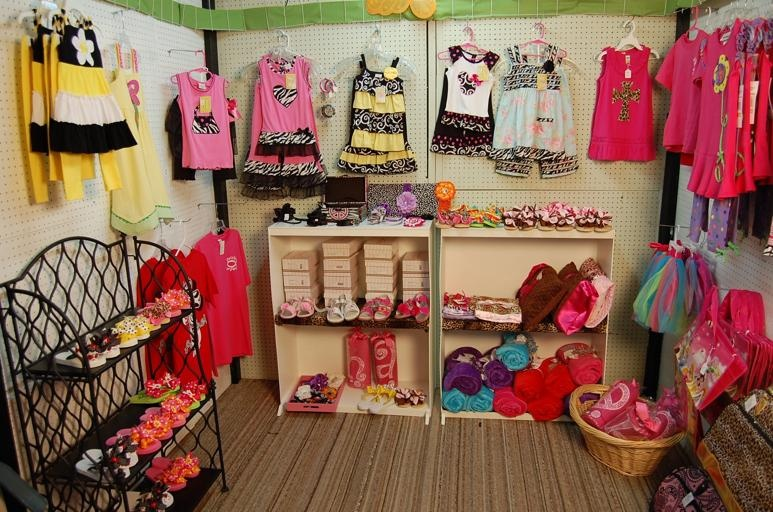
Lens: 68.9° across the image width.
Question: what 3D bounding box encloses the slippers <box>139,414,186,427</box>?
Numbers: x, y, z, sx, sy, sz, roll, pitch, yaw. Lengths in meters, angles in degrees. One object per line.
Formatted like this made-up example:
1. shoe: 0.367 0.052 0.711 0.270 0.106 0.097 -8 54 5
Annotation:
1. slippers: -1.352 0.980 3.387 0.197 0.039 0.117 2 12 -14

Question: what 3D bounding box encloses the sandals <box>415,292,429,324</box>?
1. sandals: 0.269 0.394 4.321 0.096 0.195 0.063 -2 -7 5

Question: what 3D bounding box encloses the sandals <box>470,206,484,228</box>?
1. sandals: 0.682 -0.299 4.303 0.080 0.045 0.163 0 41 8

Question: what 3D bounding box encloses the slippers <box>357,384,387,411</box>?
1. slippers: -0.110 1.144 4.528 0.146 0.053 0.211 -1 20 6

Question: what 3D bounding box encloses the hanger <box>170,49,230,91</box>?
1. hanger: -1.410 -1.413 4.252 0.412 0.289 0.008 3 31 -9

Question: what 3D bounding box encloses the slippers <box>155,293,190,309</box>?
1. slippers: -1.341 0.268 3.565 0.170 0.069 0.100 5 13 30

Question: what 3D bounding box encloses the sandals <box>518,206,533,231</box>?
1. sandals: 1.038 -0.289 4.165 0.105 0.165 0.055 -1 -20 6

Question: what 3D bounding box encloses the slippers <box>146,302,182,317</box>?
1. slippers: -1.385 0.321 3.481 0.138 0.052 0.087 2 4 -29

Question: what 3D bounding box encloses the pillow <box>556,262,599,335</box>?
1. pillow: 1.347 0.313 4.171 0.119 0.403 0.319 20 8 1

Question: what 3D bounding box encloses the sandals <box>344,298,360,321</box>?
1. sandals: -0.283 0.428 4.360 0.136 0.116 0.133 0 17 4

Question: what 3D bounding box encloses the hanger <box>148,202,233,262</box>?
1. hanger: -1.486 -0.216 4.325 0.188 0.262 0.659 2 17 19

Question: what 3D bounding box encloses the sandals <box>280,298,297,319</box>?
1. sandals: -0.785 0.412 4.438 0.139 0.100 0.192 -5 18 -11

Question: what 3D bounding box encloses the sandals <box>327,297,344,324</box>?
1. sandals: -0.400 0.425 4.369 0.145 0.165 0.421 0 4 -3

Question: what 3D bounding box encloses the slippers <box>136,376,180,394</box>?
1. slippers: -1.487 0.838 3.646 0.108 0.049 0.153 24 22 9

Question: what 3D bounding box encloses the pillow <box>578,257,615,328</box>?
1. pillow: 1.459 0.271 4.150 0.135 0.420 0.399 8 18 0

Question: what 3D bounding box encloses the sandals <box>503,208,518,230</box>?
1. sandals: 0.924 -0.285 4.208 0.104 0.137 0.119 1 17 8

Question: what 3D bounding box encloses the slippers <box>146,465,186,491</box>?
1. slippers: -1.457 1.452 3.679 0.226 0.084 0.148 13 27 24

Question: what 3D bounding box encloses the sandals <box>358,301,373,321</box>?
1. sandals: -0.160 0.422 4.375 0.121 0.097 0.175 -1 18 1

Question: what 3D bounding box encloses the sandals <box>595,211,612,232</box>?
1. sandals: 1.570 -0.253 4.109 0.111 0.128 0.129 4 18 16

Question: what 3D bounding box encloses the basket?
1. basket: 1.600 1.266 3.932 0.422 0.396 0.739 -13 21 -32

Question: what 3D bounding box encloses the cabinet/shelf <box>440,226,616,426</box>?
1. cabinet/shelf: 1.095 0.524 4.321 1.271 1.658 0.513 0 6 3

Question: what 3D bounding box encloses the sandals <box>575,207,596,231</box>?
1. sandals: 1.444 -0.296 4.097 0.117 0.064 0.176 -4 40 11

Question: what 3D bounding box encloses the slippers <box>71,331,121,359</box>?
1. slippers: -1.625 0.500 3.148 0.149 0.077 0.200 -2 6 -23

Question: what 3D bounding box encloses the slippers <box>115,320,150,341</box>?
1. slippers: -1.488 0.424 3.277 0.126 0.053 0.130 4 11 5

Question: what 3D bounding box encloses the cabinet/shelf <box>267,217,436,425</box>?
1. cabinet/shelf: -0.246 0.489 4.473 1.300 1.817 0.815 0 9 3

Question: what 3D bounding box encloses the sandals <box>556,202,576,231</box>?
1. sandals: 1.297 -0.296 4.110 0.103 0.071 0.211 -3 33 2

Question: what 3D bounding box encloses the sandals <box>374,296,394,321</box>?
1. sandals: -0.030 0.404 4.370 0.142 0.130 0.192 -1 18 1

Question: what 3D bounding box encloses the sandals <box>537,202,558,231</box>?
1. sandals: 1.187 -0.298 4.171 0.146 0.161 0.157 2 18 12

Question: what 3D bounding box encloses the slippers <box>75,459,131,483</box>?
1. slippers: -1.616 1.207 3.171 0.232 0.085 0.141 13 20 13

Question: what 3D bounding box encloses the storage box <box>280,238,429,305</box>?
1. storage box: -0.235 0.112 4.553 1.179 0.537 0.420 1 17 8

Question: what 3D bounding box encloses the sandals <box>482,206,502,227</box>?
1. sandals: 0.822 -0.319 4.330 0.144 0.127 0.249 4 19 17

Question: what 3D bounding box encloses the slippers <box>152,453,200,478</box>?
1. slippers: -1.417 1.385 3.686 0.229 0.087 0.197 8 18 25

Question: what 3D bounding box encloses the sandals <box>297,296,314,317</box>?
1. sandals: -0.639 0.400 4.417 0.136 0.113 0.142 -3 18 -4

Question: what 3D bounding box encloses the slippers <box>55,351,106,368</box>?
1. slippers: -1.712 0.570 3.141 0.212 0.080 0.126 2 5 8

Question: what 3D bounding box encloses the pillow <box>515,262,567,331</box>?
1. pillow: 1.132 0.247 4.334 0.539 0.564 0.140 12 -27 -2

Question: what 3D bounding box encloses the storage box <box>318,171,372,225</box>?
1. storage box: -0.340 -0.444 4.334 0.387 0.381 0.359 -1 6 -8

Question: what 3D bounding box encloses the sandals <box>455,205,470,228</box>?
1. sandals: 0.576 -0.315 4.294 0.093 0.059 0.155 -4 26 -2
